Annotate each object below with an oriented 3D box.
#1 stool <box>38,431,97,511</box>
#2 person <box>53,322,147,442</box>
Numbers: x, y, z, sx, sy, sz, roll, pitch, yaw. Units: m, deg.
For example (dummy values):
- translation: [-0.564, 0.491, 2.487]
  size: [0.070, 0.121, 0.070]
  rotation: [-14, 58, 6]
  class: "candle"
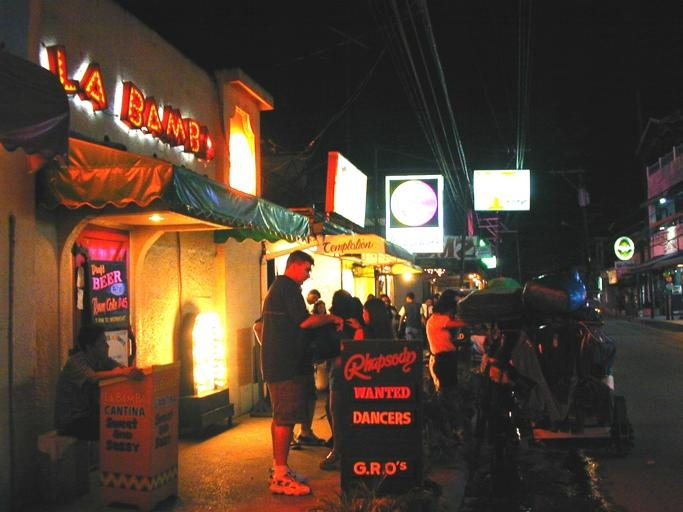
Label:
- translation: [-3.325, 2.486, 8.143]
  size: [0.599, 0.934, 0.885]
  rotation: [-3, -4, 19]
  class: "stool"
- translation: [-2.970, 1.517, 7.993]
  size: [1.048, 1.378, 0.550]
  rotation: [-6, -7, 30]
  class: "person"
